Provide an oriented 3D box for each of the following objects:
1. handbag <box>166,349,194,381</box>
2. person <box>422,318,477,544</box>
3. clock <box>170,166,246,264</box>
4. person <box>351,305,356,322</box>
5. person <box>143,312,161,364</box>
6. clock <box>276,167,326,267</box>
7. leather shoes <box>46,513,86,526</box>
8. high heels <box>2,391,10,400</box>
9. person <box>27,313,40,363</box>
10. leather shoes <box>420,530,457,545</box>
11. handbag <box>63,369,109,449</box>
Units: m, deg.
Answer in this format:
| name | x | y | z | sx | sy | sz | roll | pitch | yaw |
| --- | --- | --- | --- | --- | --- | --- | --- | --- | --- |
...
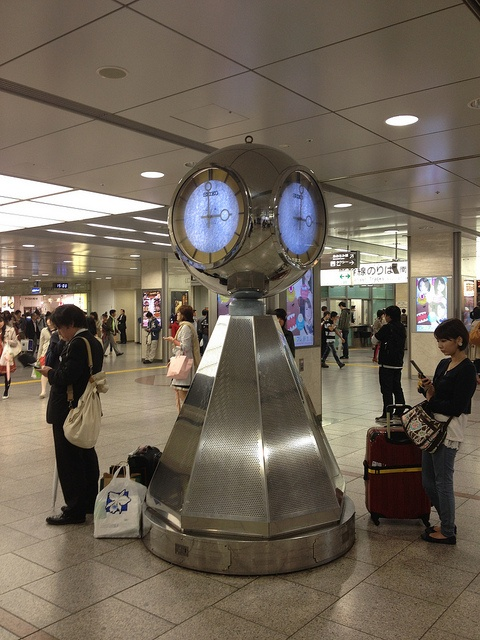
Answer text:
| name | x | y | z | sx | sy | sz | roll | pitch | yaw |
| --- | --- | --- | --- | --- | --- | --- | --- | --- | --- |
| handbag | -0.848 | 0.689 | 6.727 | 0.346 | 0.357 | 0.399 | 0 | -2 | -6 |
| person | 1.394 | 0.756 | 3.189 | 0.353 | 1.513 | 0.400 | -1 | -2 | 21 |
| clock | -0.179 | -0.637 | 2.875 | 0.589 | 0.634 | 0.063 | 2 | 1 | 42 |
| person | 6.076 | -0.310 | 25.464 | 0.232 | 1.092 | 2.178 | -1 | -2 | 14 |
| person | -3.230 | 0.669 | 17.353 | 0.570 | 1.910 | 0.975 | 0 | -2 | -18 |
| clock | 0.366 | -0.646 | 2.961 | 0.055 | 0.733 | 0.627 | 1 | 4 | 33 |
| leather shoes | -1.301 | 1.519 | 3.560 | 0.268 | 0.131 | 0.106 | 9 | -12 | -14 |
| high heels | -5.007 | 1.659 | 10.123 | 0.097 | 0.119 | 0.273 | -1 | -10 | -8 |
| person | -10.031 | 0.682 | 23.141 | 0.722 | 2.130 | 0.586 | -7 | 26 | -33 |
| leather shoes | 1.331 | 1.488 | 3.184 | 0.125 | 0.041 | 0.097 | 9 | -17 | 17 |
| handbag | -1.161 | 0.711 | 3.591 | 0.264 | 0.611 | 0.385 | -1 | -2 | 14 |
